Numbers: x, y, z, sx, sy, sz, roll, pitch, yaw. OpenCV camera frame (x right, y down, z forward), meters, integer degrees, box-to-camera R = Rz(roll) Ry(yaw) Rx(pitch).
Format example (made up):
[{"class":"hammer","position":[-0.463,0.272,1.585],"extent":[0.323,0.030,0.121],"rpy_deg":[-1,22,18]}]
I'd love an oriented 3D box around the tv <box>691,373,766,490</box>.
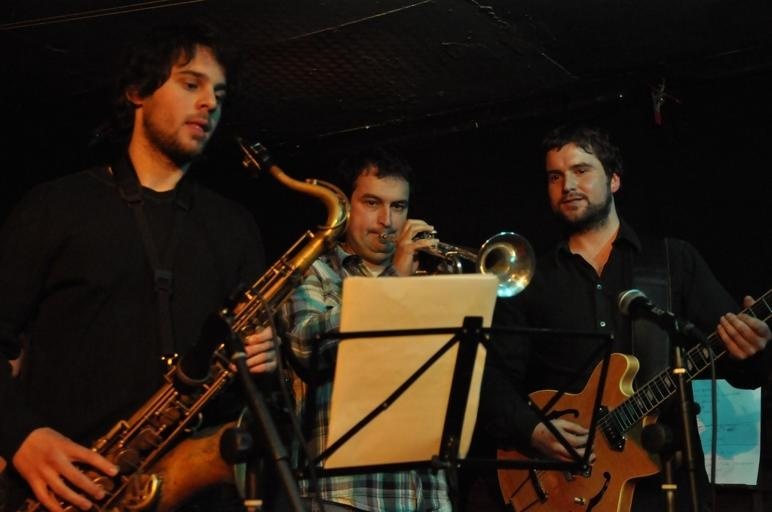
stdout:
[{"class":"tv","position":[2.369,1.193,5.115],"extent":[0.636,0.519,0.917],"rpy_deg":[5,-28,0]}]

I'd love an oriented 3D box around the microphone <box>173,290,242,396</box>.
[{"class":"microphone","position":[-0.940,0.459,3.855],"extent":[0.193,0.192,0.597],"rpy_deg":[34,-56,-2]}]
